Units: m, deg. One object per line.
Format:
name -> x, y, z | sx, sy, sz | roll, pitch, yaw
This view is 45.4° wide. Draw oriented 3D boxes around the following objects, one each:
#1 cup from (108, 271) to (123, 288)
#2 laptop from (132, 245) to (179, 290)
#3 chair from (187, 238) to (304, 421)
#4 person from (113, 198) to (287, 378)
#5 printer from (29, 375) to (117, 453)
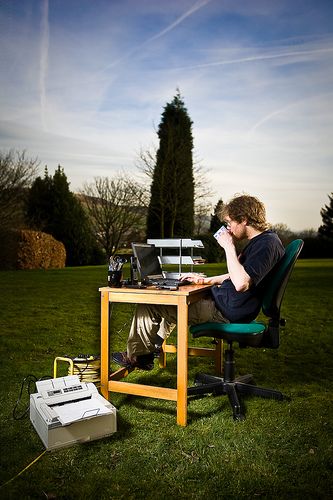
cup -> -0.375, 0.215, 2.915 | 0.113, 0.110, 0.101 | 1, 2, -3
laptop -> -0.078, 0.154, 3.268 | 0.300, 0.225, 0.373 | 10, 4, 14
chair -> 0.535, 0.538, 2.958 | 0.795, 1.214, 0.761 | 4, -1, 11
person -> 0.199, 0.275, 2.979 | 1.154, 1.397, 0.693 | 9, 3, 13
printer -> -0.599, 0.994, 2.473 | 0.420, 0.231, 0.548 | 1, 2, -35
